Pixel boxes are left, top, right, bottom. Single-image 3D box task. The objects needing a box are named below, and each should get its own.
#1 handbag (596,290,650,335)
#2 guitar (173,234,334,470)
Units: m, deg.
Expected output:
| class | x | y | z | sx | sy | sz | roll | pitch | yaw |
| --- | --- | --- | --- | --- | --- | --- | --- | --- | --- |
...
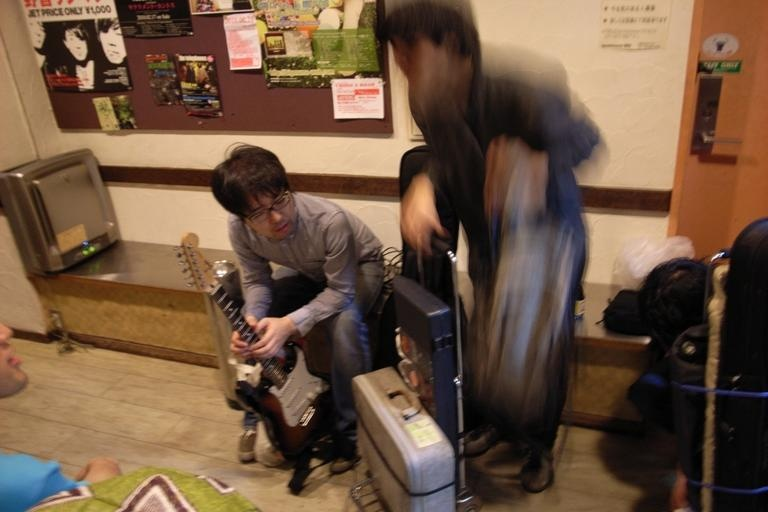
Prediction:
| class | x | y | z | sx | sy | sz | roll | pitch | yaw |
| --- | --- | --- | --- | --- | --- | --- | --- | --- | --- |
| handbag | 0.812 | 0.204 | 1.943 | 0.163 | 0.159 | 0.064 | -9 | 5 | 7 |
| guitar | -0.492 | 0.300 | 2.095 | 0.514 | 0.873 | 0.306 | 20 | 36 | 39 |
